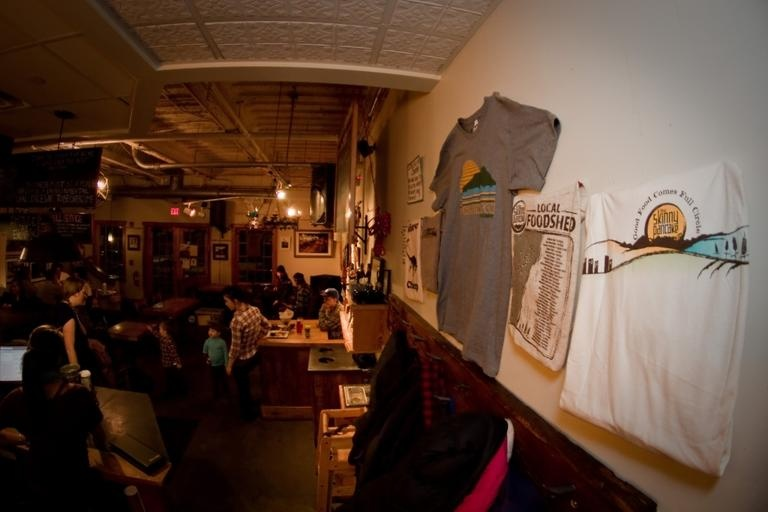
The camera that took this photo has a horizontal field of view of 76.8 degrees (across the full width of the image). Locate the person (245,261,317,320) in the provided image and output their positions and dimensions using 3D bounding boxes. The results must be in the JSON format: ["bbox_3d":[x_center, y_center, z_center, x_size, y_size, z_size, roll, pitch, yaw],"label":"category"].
[{"bbox_3d":[-1.846,0.743,9.319,1.237,1.024,1.260,9,-11,-18],"label":"person"}]

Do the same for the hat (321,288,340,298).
[{"bbox_3d":[-0.708,0.475,6.272,0.169,0.097,0.125,-1,-1,8],"label":"hat"}]

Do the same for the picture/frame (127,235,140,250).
[{"bbox_3d":[-5.952,-0.335,11.507,0.323,0.473,0.048,2,1,-19],"label":"picture/frame"}]

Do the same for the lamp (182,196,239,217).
[{"bbox_3d":[-3.763,-1.109,10.235,1.023,0.367,0.682,1,1,3],"label":"lamp"}]

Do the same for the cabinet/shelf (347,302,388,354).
[{"bbox_3d":[-0.181,0.651,5.001,0.393,0.598,0.568,1,-1,-9],"label":"cabinet/shelf"}]
